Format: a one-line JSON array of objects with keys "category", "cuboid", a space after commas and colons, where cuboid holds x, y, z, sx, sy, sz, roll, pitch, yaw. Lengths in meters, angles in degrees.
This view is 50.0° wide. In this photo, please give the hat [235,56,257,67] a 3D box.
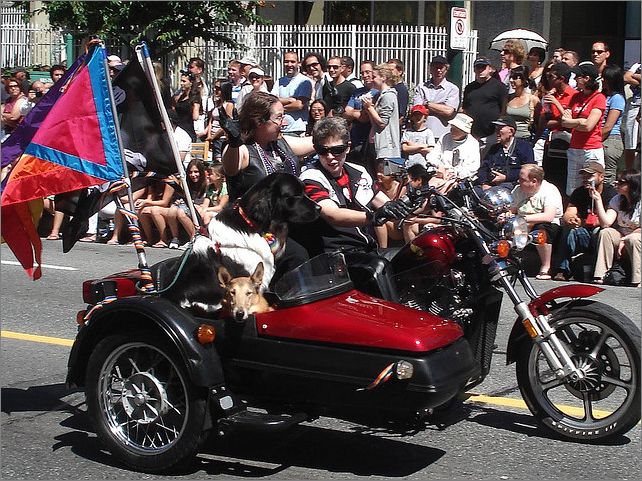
[{"category": "hat", "cuboid": [-1.569, -3.861, 14.772, 0.660, 0.188, 0.383, 3, 8, 0]}]

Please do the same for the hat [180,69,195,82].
[{"category": "hat", "cuboid": [-2.843, -3.455, 14.499, 0.345, 0.253, 0.219, -18, 39, -8]}]

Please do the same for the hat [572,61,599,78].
[{"category": "hat", "cuboid": [4.095, -2.680, 10.672, 0.424, 0.166, 0.274, 8, 7, 8]}]

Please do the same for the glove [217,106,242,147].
[{"category": "glove", "cuboid": [-0.633, -0.804, 4.823, 0.164, 0.281, 0.308, -2, 11, -7]}]

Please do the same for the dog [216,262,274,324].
[{"category": "dog", "cuboid": [-0.444, 0.301, 3.990, 0.307, 0.337, 0.172, -1, 12, -4]}]

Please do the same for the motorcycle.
[{"category": "motorcycle", "cuboid": [0.325, 0.352, 4.344, 3.435, 1.235, 1.915, -1, 4, 13]}]

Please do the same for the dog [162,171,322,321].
[{"category": "dog", "cuboid": [-0.575, 0.079, 4.344, 1.202, 0.867, 0.642, -1, 6, 7]}]

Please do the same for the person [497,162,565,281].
[{"category": "person", "cuboid": [2.848, -0.333, 9.555, 1.146, 1.398, 1.063, 10, 24, 36]}]

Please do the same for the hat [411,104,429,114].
[{"category": "hat", "cuboid": [1.637, -2.194, 11.486, 0.253, 0.162, 0.313, 0, 10, 2]}]

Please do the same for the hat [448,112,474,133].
[{"category": "hat", "cuboid": [2.132, -1.764, 10.277, 0.328, 0.174, 0.394, 21, 19, 20]}]

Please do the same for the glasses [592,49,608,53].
[{"category": "glasses", "cuboid": [4.978, -3.386, 12.264, 0.220, 0.077, 0.138, 2, 10, 10]}]

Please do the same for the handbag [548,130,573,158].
[{"category": "handbag", "cuboid": [3.771, -1.520, 10.862, 0.388, 0.397, 0.443, 9, 7, 25]}]

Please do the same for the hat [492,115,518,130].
[{"category": "hat", "cuboid": [2.795, -1.779, 10.374, 0.282, 0.188, 0.331, 2, 10, 11]}]

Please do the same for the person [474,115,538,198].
[{"category": "person", "cuboid": [2.782, -1.244, 10.370, 1.099, 1.134, 1.030, 5, 11, 42]}]

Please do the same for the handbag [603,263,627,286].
[{"category": "handbag", "cuboid": [3.931, 0.465, 9.157, 0.340, 0.243, 0.212, -2, -1, 13]}]

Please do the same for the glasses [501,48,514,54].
[{"category": "glasses", "cuboid": [3.424, -3.467, 12.519, 0.138, 0.034, 0.119, 6, -2, -23]}]
